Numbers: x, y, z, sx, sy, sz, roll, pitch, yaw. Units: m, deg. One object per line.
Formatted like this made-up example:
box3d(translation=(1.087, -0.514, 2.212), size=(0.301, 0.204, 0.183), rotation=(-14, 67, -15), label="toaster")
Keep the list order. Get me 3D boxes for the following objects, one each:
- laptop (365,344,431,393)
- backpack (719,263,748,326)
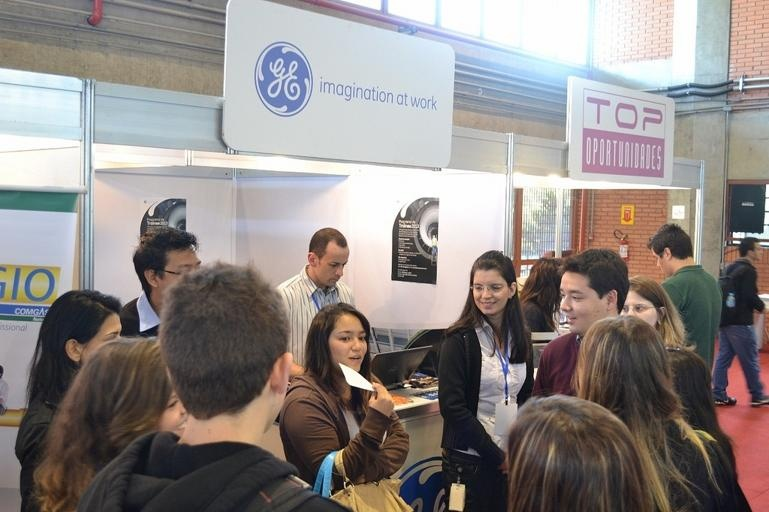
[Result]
box3d(translation=(0.082, 0.710, 4.097), size=(0.335, 0.208, 0.273), rotation=(-2, 16, -37), label="laptop")
box3d(translation=(3.858, 0.450, 6.975), size=(0.384, 0.766, 0.535), rotation=(4, -9, 28), label="backpack")
